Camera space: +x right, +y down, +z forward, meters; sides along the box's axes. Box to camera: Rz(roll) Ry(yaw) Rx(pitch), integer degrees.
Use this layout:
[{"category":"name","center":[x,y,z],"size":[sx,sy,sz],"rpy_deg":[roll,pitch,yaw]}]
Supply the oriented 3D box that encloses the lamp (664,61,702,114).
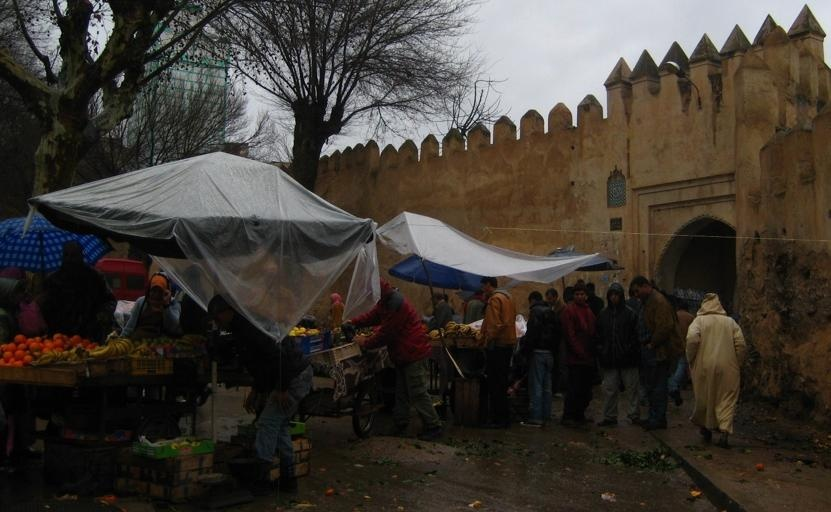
[{"category":"lamp","center":[6.990,-4.515,21.738],"size":[0.790,1.388,1.279],"rpy_deg":[-1,5,-7]}]

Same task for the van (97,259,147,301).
[{"category":"van","center":[-8.278,0.667,23.296],"size":[1.339,1.357,2.304],"rpy_deg":[0,-1,-20]}]

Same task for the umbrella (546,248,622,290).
[{"category":"umbrella","center":[4.030,0.134,19.320],"size":[1.325,0.608,1.314],"rpy_deg":[-3,-8,0]}]
